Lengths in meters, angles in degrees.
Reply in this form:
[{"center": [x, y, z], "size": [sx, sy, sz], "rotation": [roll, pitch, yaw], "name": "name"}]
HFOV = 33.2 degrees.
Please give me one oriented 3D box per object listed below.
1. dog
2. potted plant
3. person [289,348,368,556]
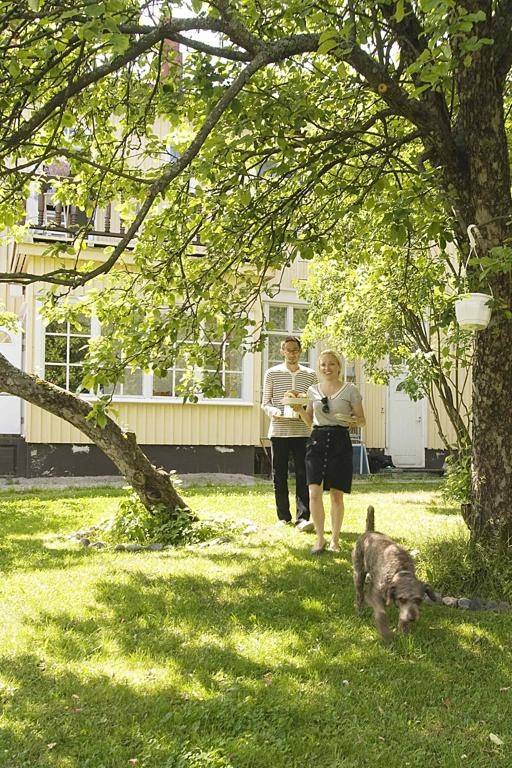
[{"center": [0.758, 1.100, 4.971], "size": [0.300, 0.591, 0.958], "rotation": [-1, 9, -8], "name": "dog"}, {"center": [1.353, -0.692, 5.311], "size": [0.225, 0.549, 0.802], "rotation": [3, 2, 13], "name": "potted plant"}, {"center": [0.571, 0.511, 6.908], "size": [0.498, 1.168, 0.712], "rotation": [3, 2, -5], "name": "person"}]
